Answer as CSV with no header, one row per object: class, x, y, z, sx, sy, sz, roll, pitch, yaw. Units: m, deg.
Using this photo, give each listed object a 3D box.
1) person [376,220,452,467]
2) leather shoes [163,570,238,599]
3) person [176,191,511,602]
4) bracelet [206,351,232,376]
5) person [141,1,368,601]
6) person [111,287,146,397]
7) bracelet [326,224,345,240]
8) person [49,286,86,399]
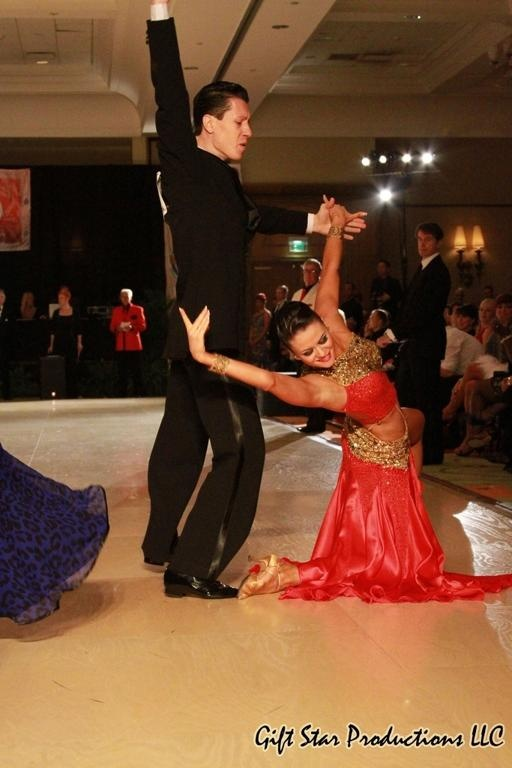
person,1.191,-0.298,4.828,0.603,1.868,0.526,3,3,17
leather shoes,-0.173,0.592,1.843,0.268,0.104,0.083,2,-2,-8
person,0.281,0.079,2.400,1.298,1.421,0.681,-9,19,-18
bracelet,-0.097,-0.048,1.599,0.065,0.055,0.049,4,1,-5
person,-0.092,-0.227,1.932,0.511,1.731,0.522,0,-3,-10
person,-2.290,-0.679,10.958,0.577,1.808,0.864,0,-3,-12
bracelet,0.284,-0.542,2.205,0.061,0.053,0.051,5,1,-32
person,-3.400,-0.749,11.153,0.553,1.996,0.658,1,-4,-22
